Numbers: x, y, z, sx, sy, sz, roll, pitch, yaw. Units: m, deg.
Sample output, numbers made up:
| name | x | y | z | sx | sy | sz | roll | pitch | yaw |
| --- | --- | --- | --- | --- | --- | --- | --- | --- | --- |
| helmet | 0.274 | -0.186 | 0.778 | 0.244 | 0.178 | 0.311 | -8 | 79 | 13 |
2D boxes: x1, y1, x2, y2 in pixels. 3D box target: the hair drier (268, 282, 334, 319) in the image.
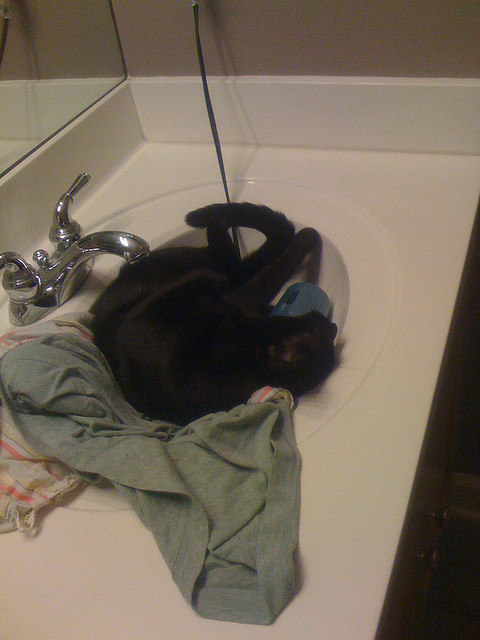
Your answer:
| name | x | y | z | sx | sy | sz | roll | pitch | yaw |
| --- | --- | --- | --- | --- | --- | --- | --- | --- | --- |
| hair drier | 0.110 | -0.032 | 0.931 | 0.113 | 0.045 | 0.067 | 8 | 22 | 31 |

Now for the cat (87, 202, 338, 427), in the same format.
| name | x | y | z | sx | sy | sz | roll | pitch | yaw |
| --- | --- | --- | --- | --- | --- | --- | --- | --- | --- |
| cat | -0.014 | 0.016 | 0.982 | 0.399 | 0.156 | 0.303 | -22 | 58 | -8 |
